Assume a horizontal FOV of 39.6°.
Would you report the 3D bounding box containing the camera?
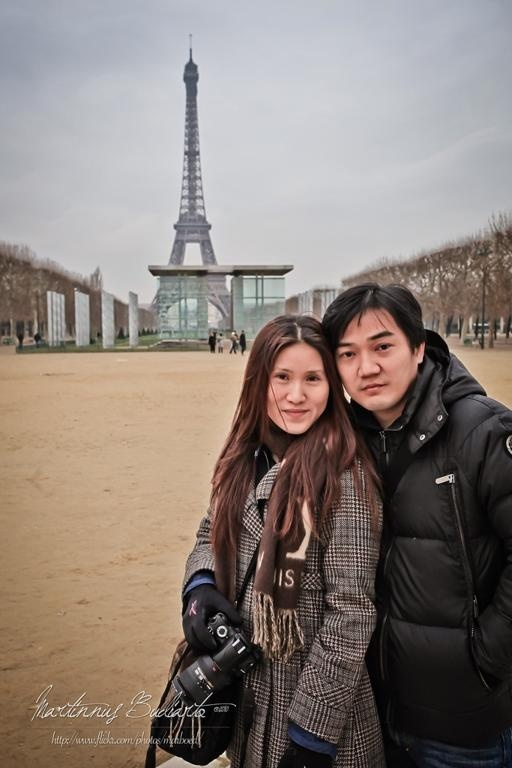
[{"bbox_3d":[-0.107,0.698,1.881,0.224,0.220,0.128,-38,-2,-6],"label":"camera"}]
